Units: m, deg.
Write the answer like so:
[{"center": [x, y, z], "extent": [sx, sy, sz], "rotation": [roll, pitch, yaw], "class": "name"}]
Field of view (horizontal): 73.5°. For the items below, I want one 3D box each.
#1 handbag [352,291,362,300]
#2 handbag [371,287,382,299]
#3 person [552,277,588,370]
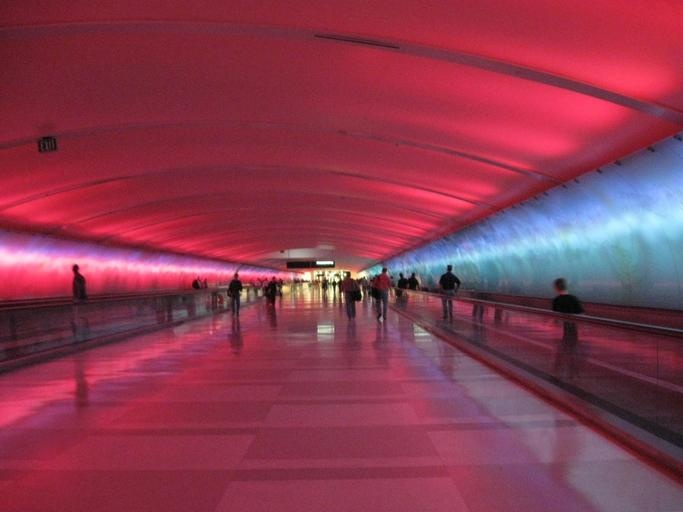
[{"center": [0.657, 1.673, 18.348], "extent": [0.267, 0.435, 0.401], "rotation": [5, 6, 1], "class": "handbag"}, {"center": [1.385, 1.418, 17.114], "extent": [0.123, 0.399, 0.454], "rotation": [-8, 4, -18], "class": "handbag"}, {"center": [3.485, 1.061, 6.990], "extent": [0.413, 1.399, 1.586], "rotation": [-1, 0, 26], "class": "person"}]
